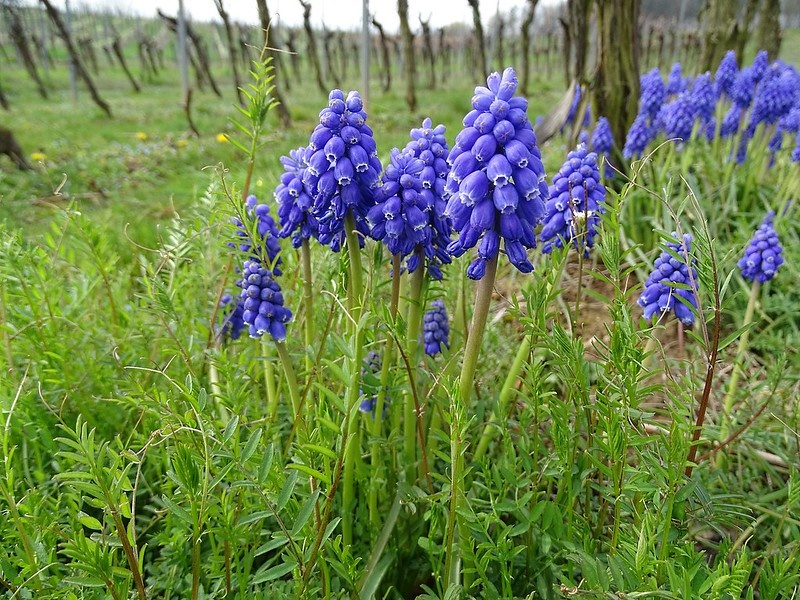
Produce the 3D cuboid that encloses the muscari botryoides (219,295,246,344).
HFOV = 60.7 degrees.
[{"bbox_3d":[-1.116,0.112,4.549,0.111,0.277,0.128,21,56,2],"label":"muscari botryoides"}]
